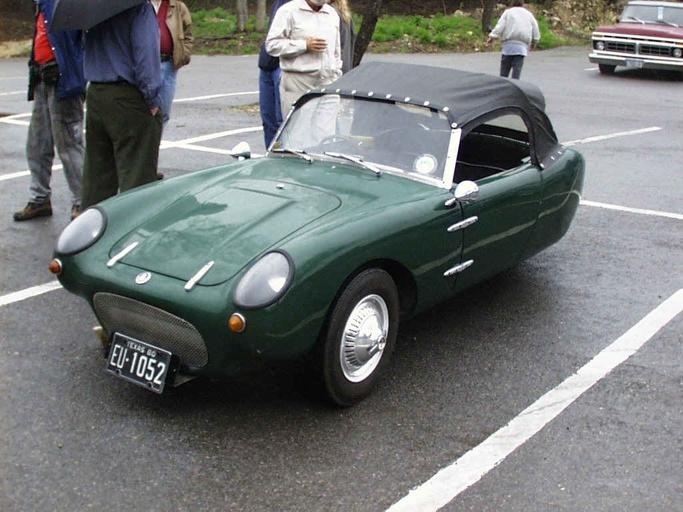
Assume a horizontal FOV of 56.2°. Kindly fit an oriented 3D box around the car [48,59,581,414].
[{"bbox_3d":[0.178,0.000,4.780,2.052,1.481,3.866,20,33,40],"label":"car"}]
